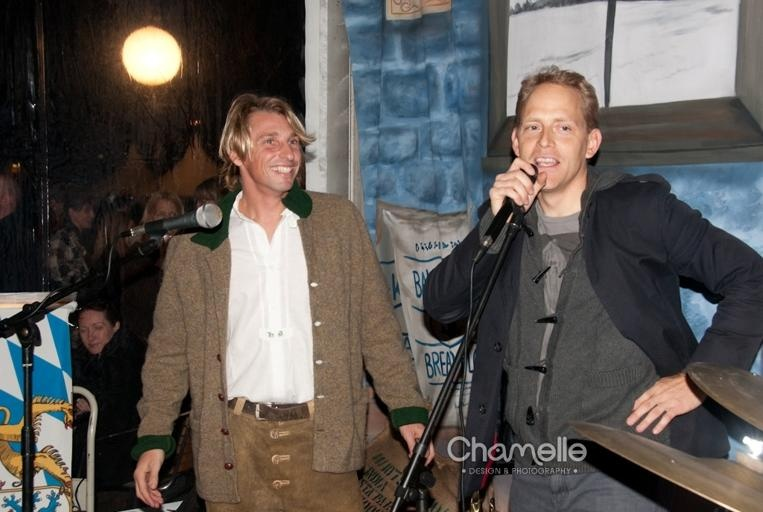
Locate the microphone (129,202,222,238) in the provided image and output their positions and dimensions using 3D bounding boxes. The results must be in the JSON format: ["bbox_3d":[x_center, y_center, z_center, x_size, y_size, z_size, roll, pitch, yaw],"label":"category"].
[{"bbox_3d":[-1.063,-0.182,3.495,0.492,0.142,0.107,-11,35,22],"label":"microphone"}]
